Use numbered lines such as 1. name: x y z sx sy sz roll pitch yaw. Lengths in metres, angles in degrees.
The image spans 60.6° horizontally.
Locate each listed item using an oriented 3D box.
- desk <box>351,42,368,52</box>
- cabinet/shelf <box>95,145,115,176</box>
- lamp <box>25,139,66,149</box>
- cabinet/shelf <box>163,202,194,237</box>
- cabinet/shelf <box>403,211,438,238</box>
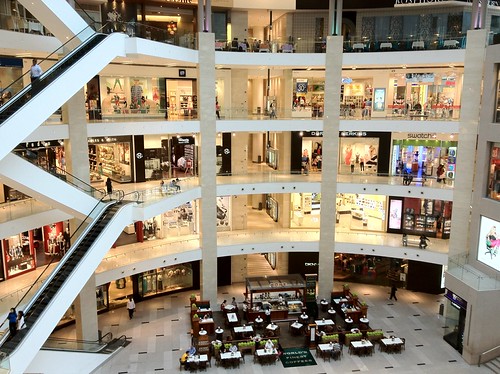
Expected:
1. desk: 6.858 -8.688 26.532 0.651 0.452 0.659 0 11 -1
2. cabinet/shelf: -9.288 -1.651 27.634 1.922 2.243 0.720 -3 -3 42
3. lamp: -12.003 -2.451 24.912 1.482 0.342 1.315 -1 2 -20
4. cabinet/shelf: -4.634 2.073 27.464 2.029 1.974 1.070 -10 15 -31
5. cabinet/shelf: 11.861 2.586 29.386 1.677 1.426 0.556 3 4 20
